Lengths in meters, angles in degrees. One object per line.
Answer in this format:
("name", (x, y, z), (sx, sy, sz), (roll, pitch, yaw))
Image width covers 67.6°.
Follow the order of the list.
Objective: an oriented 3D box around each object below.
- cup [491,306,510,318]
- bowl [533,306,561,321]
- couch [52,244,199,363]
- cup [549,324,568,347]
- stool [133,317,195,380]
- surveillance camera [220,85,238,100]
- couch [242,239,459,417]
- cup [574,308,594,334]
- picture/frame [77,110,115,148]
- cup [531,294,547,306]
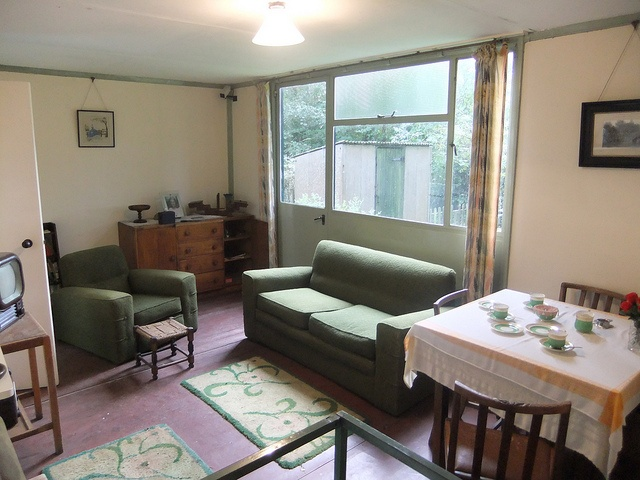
("cup", (1.252, 0.505, 3.318), (0.074, 0.065, 0.092), (-5, 6, -37))
("bowl", (1.565, 0.489, 3.319), (0.118, 0.065, 0.118), (5, 8, -1))
("couch", (-2.032, 0.590, 5.008), (1.408, 0.881, 1.446), (-5, 12, -26))
("cup", (1.473, 0.597, 2.980), (0.107, 0.093, 0.122), (1, 2, 7))
("stool", (-1.444, 0.929, 4.469), (0.482, 0.439, 0.489), (-9, 17, -41))
("surveillance camera", (-1.294, -2.052, 6.759), (0.193, 0.195, 0.133), (6, 3, -37))
("couch", (0.253, 0.669, 4.615), (1.113, 0.998, 2.104), (-8, 13, -42))
("cup", (1.745, 0.540, 3.187), (0.132, 0.136, 0.130), (6, 6, -1))
("picture/frame", (-2.727, -1.344, 5.762), (0.487, 0.510, 0.038), (-3, 6, -43))
("cup", (1.619, 0.447, 3.528), (0.086, 0.066, 0.083), (2, -3, 0))
